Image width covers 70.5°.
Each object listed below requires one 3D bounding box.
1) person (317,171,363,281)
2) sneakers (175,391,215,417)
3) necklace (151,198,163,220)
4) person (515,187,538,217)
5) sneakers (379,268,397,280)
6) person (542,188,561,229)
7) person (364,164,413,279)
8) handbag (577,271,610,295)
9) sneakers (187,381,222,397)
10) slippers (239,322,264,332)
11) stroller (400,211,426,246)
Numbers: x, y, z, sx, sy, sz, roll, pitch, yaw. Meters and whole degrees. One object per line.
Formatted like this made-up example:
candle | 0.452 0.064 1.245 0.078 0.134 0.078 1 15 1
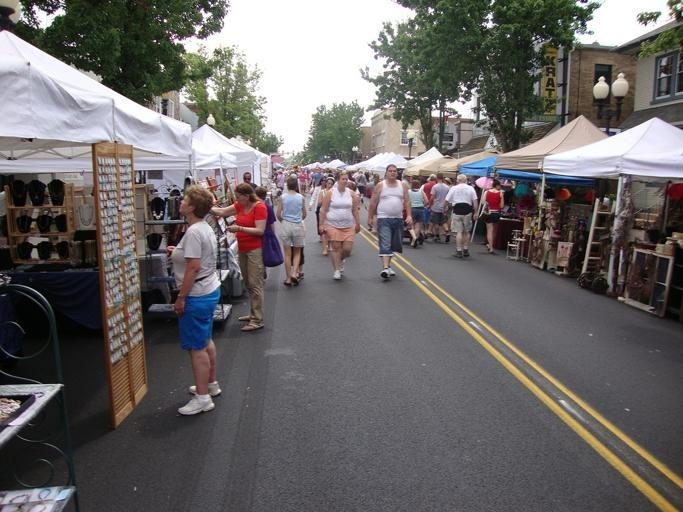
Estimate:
person | -0.063 -0.740 11.392 0.892 2.514 0.818 0 9 -4
sneakers | -1.536 1.534 5.104 0.419 0.201 0.158 -2 7 -27
necklace | -3.498 -0.922 9.153 0.258 0.501 0.103 7 -36 -22
person | 6.579 -1.953 17.396 0.751 0.973 1.087 -3 -12 22
sneakers | 1.058 0.407 11.533 0.182 0.216 0.500 3 10 14
person | 5.843 -1.337 13.572 0.322 1.215 0.377 6 30 29
person | 1.057 -0.880 11.413 1.096 2.571 1.181 5 6 43
handbag | 5.705 0.604 10.950 0.472 0.294 0.688 4 0 -1
sneakers | -1.547 1.487 5.465 0.432 0.206 0.157 2 -1 0
slippers | -1.424 1.112 7.660 0.352 0.154 0.138 2 2 -11
stroller | 2.635 -1.120 17.869 0.979 0.766 1.544 1 14 9
